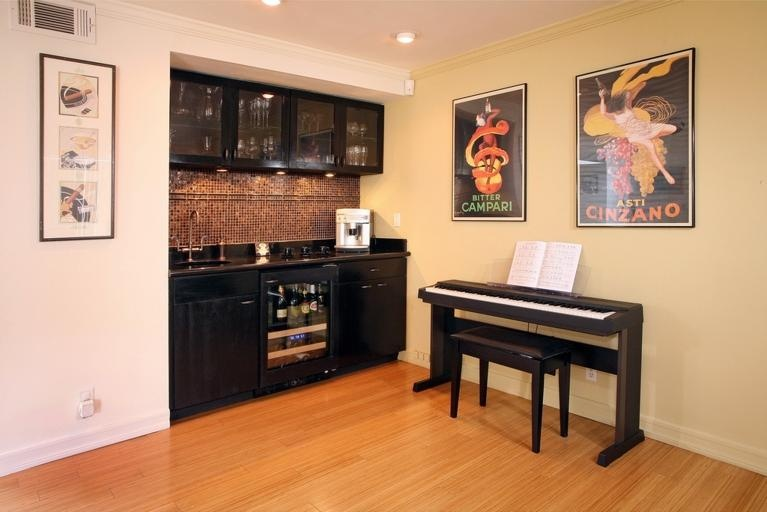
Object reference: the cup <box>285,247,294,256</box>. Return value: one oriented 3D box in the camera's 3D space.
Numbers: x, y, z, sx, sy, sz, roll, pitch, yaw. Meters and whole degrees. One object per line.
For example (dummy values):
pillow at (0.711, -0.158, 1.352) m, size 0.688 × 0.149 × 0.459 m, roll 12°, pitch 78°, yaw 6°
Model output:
cup at (-0.887, -0.045, 4.959) m, size 0.057 × 0.072 × 0.087 m, roll 0°, pitch -5°, yaw 22°

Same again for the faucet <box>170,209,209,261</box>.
faucet at (-1.704, -0.186, 4.588) m, size 0.213 × 0.436 × 0.250 m, roll 2°, pitch 8°, yaw 10°

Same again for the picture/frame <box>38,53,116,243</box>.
picture/frame at (-2.118, -0.743, 3.637) m, size 0.503 × 1.255 × 0.171 m, roll -3°, pitch 9°, yaw -24°

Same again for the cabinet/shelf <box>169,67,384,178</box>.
cabinet/shelf at (-0.957, -1.208, 4.897) m, size 2.298 × 0.691 × 0.336 m, roll -7°, pitch 17°, yaw -45°

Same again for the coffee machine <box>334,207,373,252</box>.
coffee machine at (-0.296, -0.254, 5.149) m, size 0.432 × 0.527 × 0.404 m, roll -1°, pitch -2°, yaw 25°

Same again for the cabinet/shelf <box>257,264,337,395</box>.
cabinet/shelf at (-0.723, 0.584, 4.538) m, size 0.768 × 0.976 × 0.188 m, roll -7°, pitch 11°, yaw -43°

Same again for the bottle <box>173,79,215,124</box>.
bottle at (-1.546, -1.269, 4.274) m, size 0.358 × 0.285 × 0.082 m, roll 0°, pitch 5°, yaw -37°

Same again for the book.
book at (1.273, 0.070, 4.118) m, size 0.612 × 0.376 × 0.144 m, roll 6°, pitch -14°, yaw 43°

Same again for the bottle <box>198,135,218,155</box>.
bottle at (-1.417, -0.929, 4.326) m, size 0.153 × 0.138 × 0.034 m, roll -6°, pitch 12°, yaw -39°

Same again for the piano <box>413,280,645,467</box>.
piano at (1.159, 0.906, 3.969) m, size 0.502 × 0.671 × 1.364 m, roll 0°, pitch 1°, yaw -43°

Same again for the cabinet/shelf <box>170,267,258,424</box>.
cabinet/shelf at (-1.332, 0.644, 4.156) m, size 0.704 × 1.029 × 0.200 m, roll -2°, pitch 9°, yaw -21°

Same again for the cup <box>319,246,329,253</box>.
cup at (-0.563, -0.066, 5.191) m, size 0.079 × 0.054 × 0.109 m, roll 14°, pitch -13°, yaw -34°

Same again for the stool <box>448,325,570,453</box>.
stool at (0.976, 0.953, 4.063) m, size 0.500 × 0.633 × 0.809 m, roll 0°, pitch 5°, yaw -43°

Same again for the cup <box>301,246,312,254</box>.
cup at (-0.754, -0.066, 5.188) m, size 0.091 × 0.071 × 0.090 m, roll 0°, pitch 4°, yaw 0°

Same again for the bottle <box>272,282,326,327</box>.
bottle at (-0.752, 0.414, 4.559) m, size 0.451 × 0.387 × 0.237 m, roll 1°, pitch 3°, yaw -44°
